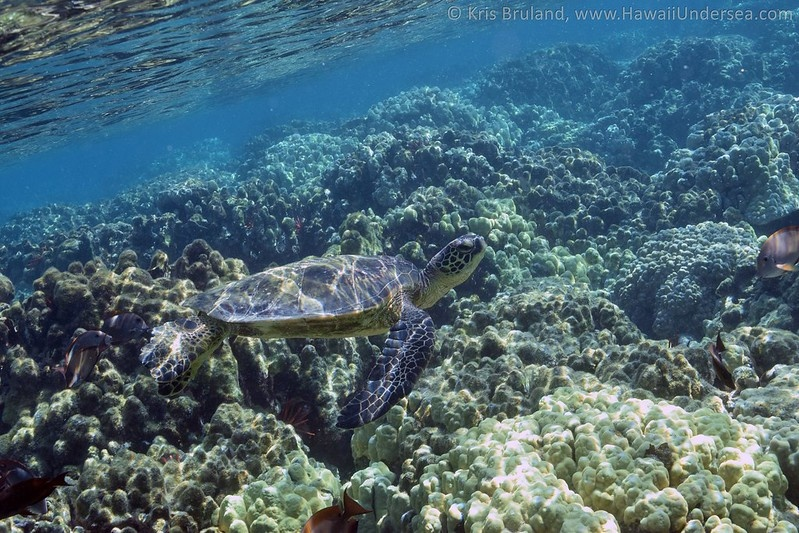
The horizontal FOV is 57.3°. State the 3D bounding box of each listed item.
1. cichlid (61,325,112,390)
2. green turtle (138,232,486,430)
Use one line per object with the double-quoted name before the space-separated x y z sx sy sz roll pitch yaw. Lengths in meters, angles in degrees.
"cichlid" -8.986 2.556 20.979 1.632 1.125 0.491 -35 37 -24
"green turtle" -2.156 1.902 22.053 10.174 4.286 5.544 -13 33 7
